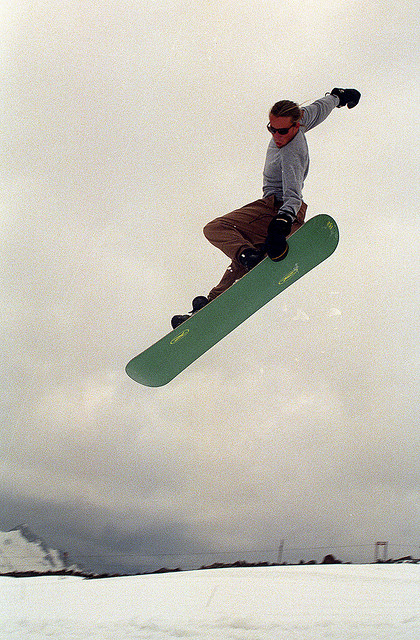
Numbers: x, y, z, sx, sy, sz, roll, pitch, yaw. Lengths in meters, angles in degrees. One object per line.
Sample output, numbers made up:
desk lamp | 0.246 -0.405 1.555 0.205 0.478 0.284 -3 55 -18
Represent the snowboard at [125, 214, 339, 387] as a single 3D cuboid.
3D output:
snowboard | 0.186 -0.126 6.362 0.462 2.165 0.245 57 -2 -26
